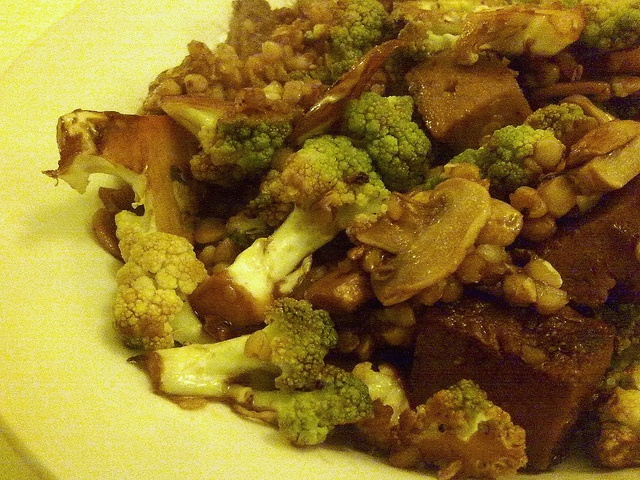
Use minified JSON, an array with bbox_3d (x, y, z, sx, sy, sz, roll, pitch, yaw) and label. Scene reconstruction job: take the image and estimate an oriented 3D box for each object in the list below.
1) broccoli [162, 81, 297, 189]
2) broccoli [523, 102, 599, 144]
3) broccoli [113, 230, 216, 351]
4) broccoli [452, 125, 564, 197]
[{"bbox_3d":[-0.304,-0.286,1.809,0.310,0.130,0.293,42,56,15],"label":"broccoli"},{"bbox_3d":[0.658,-0.309,1.730,0.177,0.043,0.127,-15,46,-7],"label":"broccoli"},{"bbox_3d":[-0.471,0.147,1.754,0.353,0.166,0.279,6,88,-27],"label":"broccoli"},{"bbox_3d":[0.510,-0.219,1.680,0.286,0.185,0.098,-2,57,-39],"label":"broccoli"}]
